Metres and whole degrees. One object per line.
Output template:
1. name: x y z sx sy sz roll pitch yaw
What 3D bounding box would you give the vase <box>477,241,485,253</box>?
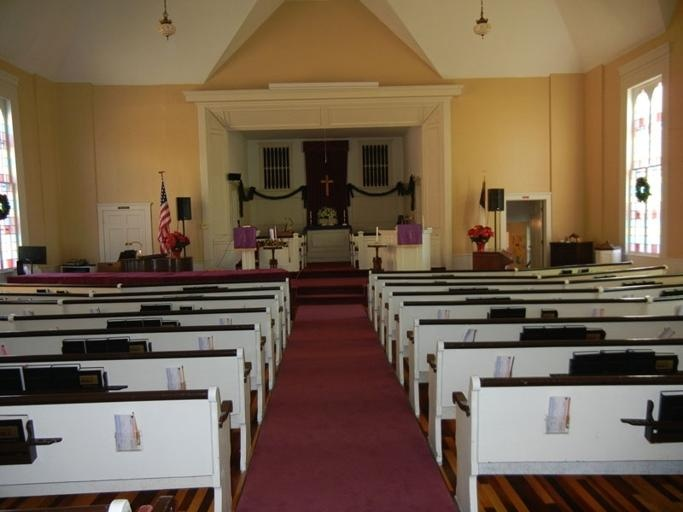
1. vase: 3.079 -0.235 12.450 0.246 0.287 0.252 0 6 32

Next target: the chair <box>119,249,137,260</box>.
1. chair: -4.461 -0.041 11.564 0.372 0.294 0.401 -1 -4 -7

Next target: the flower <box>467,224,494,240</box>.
1. flower: 3.070 -0.511 12.422 0.389 0.320 0.426 1 6 0

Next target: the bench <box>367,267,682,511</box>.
1. bench: 1.735 1.290 4.673 1.995 1.349 1.472 -1 4 -4

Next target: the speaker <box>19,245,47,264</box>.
1. speaker: -5.931 -0.013 10.665 0.480 0.355 0.919 -3 4 -31

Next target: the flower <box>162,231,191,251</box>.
1. flower: -3.625 -0.329 12.026 0.439 0.524 0.482 0 -9 10

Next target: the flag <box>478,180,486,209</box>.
1. flag: 3.323 -1.466 13.127 0.138 0.679 0.209 0 4 14
